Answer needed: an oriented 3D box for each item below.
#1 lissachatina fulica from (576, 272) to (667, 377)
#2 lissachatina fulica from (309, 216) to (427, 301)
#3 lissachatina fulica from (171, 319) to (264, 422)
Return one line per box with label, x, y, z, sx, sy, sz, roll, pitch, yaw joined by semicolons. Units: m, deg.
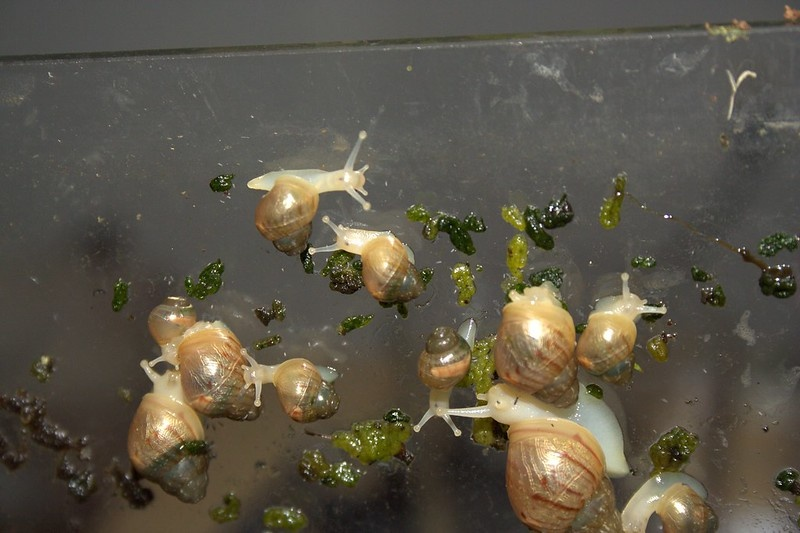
lissachatina fulica;0.927;0.258;4.041;0.248;0.180;0.440;29;68;30
lissachatina fulica;-0.130;-0.041;4.128;0.481;0.265;0.267;24;65;28
lissachatina fulica;-0.790;0.462;4.106;0.271;0.331;0.366;-14;53;6
